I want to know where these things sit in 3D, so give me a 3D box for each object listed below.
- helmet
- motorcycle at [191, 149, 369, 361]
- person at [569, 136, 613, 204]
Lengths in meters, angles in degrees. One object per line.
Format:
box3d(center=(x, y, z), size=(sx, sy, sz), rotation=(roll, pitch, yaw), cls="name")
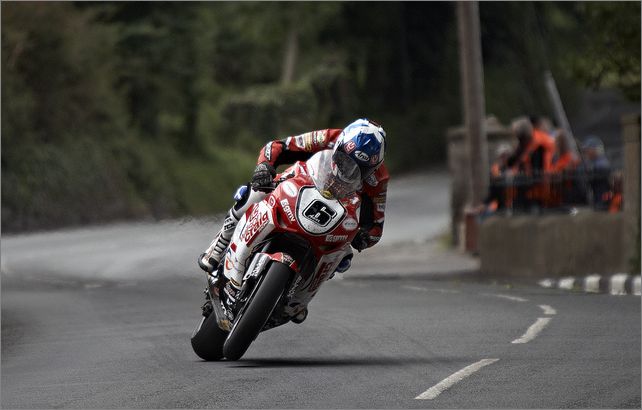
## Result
box3d(center=(0.420, -0.561, 7.528), size=(0.449, 0.592, 0.552), rotation=(28, -41, -19), cls="helmet")
box3d(center=(-0.369, 0.475, 7.583), size=(1.437, 2.083, 0.725), rotation=(2, 6, -2), cls="motorcycle")
box3d(center=(4.975, -0.625, 14.059), size=(0.647, 1.243, 1.946), rotation=(5, 7, 18), cls="person")
